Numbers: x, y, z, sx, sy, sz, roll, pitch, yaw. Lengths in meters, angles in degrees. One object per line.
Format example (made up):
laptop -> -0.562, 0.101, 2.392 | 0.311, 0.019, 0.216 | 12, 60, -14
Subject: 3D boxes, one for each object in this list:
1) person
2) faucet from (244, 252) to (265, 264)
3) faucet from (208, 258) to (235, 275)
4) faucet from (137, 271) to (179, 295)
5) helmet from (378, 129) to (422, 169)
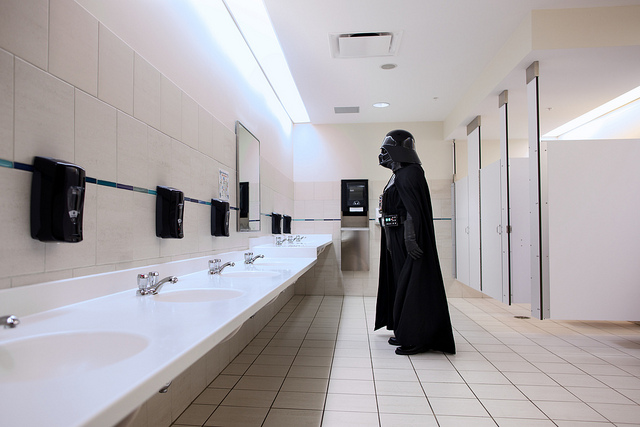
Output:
person -> 0.996, 0.251, 4.549 | 0.554, 2.398, 0.913 | -1, 3, -18
faucet -> -0.644, 0.433, 4.104 | 0.200, 0.124, 0.103 | 0, -4, 5
faucet -> -0.878, 0.448, 3.507 | 0.107, 0.086, 0.209 | 3, -6, -39
faucet -> -1.064, 0.460, 2.748 | 0.212, 0.093, 0.131 | -3, -6, 15
helmet -> 0.914, -0.751, 4.720 | 0.459, 0.374, 0.417 | 7, 3, 20
